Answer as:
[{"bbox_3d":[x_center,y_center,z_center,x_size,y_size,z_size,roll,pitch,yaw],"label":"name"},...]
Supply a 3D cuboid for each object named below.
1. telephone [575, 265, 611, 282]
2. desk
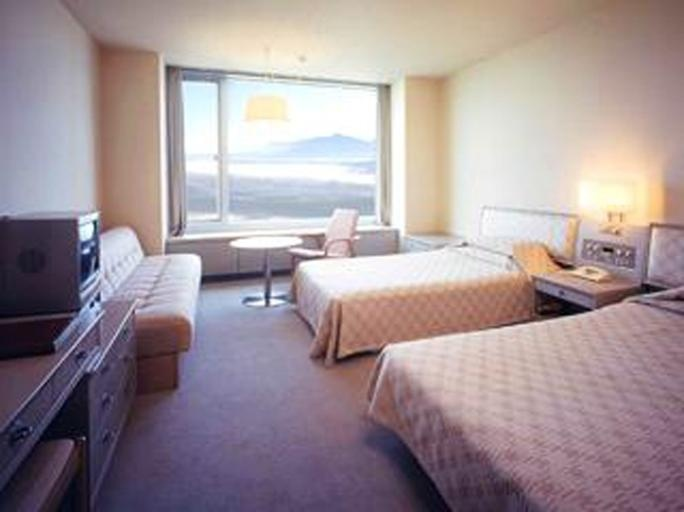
[{"bbox_3d":[2.235,0.154,4.211,0.154,0.042,0.166,-7,14,-24],"label":"telephone"},{"bbox_3d":[-0.821,0.111,5.492,0.823,0.665,0.840,-11,16,-43],"label":"desk"}]
